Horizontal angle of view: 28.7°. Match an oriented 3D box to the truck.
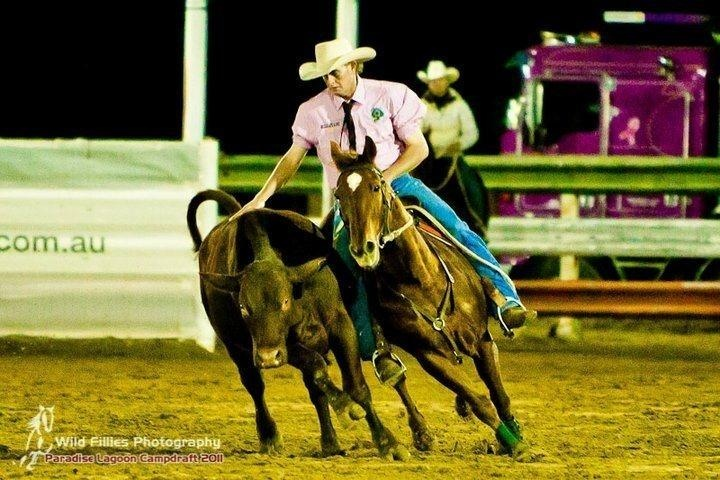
[{"bbox_3d":[4.194,-1.796,23.650,4.676,4.257,3.221,1,-2,2],"label":"truck"}]
